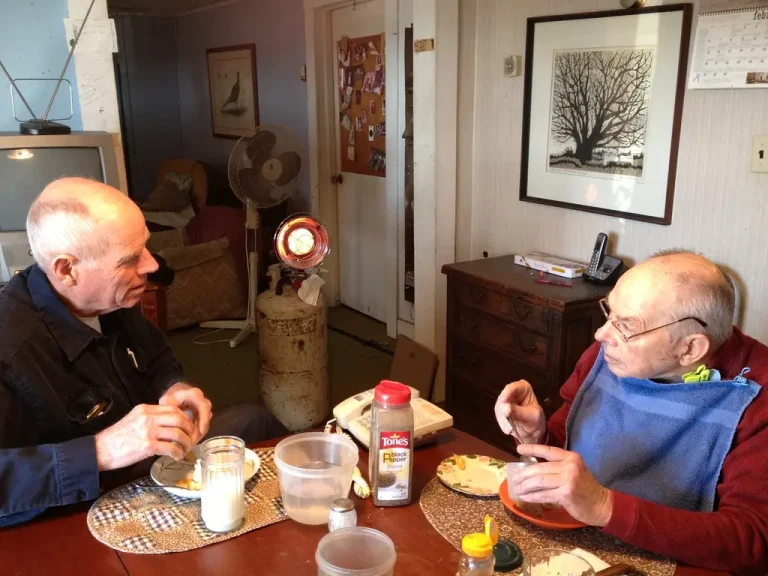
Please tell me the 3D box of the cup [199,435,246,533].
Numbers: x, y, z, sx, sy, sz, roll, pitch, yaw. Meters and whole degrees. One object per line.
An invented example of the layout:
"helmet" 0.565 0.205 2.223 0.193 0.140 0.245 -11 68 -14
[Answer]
"cup" -0.441 0.530 1.565 0.123 0.206 0.143 -3 20 -12

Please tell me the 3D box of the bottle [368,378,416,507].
"bottle" 0.020 0.431 1.654 0.121 0.344 0.164 1 19 1

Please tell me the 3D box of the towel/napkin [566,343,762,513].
"towel/napkin" 0.823 0.409 1.652 0.189 0.341 0.358 20 2 -31

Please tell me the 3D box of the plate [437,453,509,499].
"plate" 0.284 0.576 1.727 0.227 0.027 0.236 8 17 -4

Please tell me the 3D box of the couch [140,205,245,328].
"couch" -1.897 -0.189 5.766 0.743 0.826 0.888 -17 16 -6

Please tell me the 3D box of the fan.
"fan" -1.069 -0.386 4.878 0.593 1.940 1.002 -7 21 -21

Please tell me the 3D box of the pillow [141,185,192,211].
"pillow" -2.680 -1.056 6.933 0.384 0.123 0.398 14 41 31

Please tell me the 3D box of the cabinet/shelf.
"cabinet/shelf" 0.789 0.426 3.452 0.454 1.042 0.873 -11 20 -36

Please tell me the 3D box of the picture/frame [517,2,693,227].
"picture/frame" 1.214 -0.949 3.093 0.097 1.293 1.090 -12 19 -36

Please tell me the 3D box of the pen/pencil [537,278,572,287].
"pen/pencil" 0.939 -0.027 3.172 0.021 0.022 0.157 17 -4 -44

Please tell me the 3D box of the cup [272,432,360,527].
"cup" -0.208 0.535 1.641 0.242 0.192 0.239 4 10 -1
